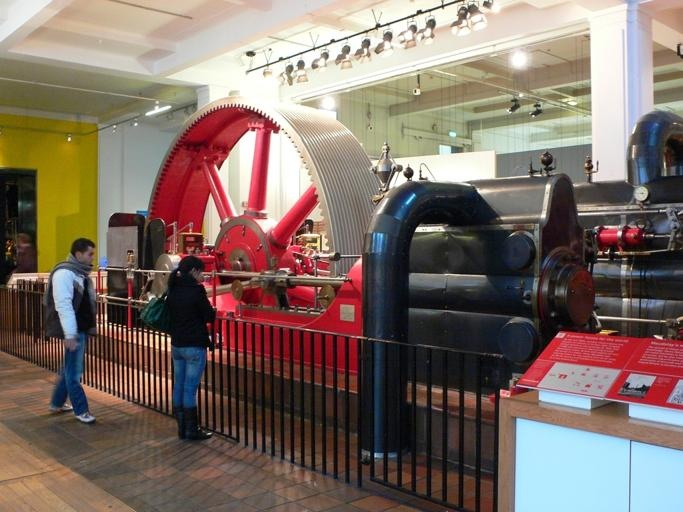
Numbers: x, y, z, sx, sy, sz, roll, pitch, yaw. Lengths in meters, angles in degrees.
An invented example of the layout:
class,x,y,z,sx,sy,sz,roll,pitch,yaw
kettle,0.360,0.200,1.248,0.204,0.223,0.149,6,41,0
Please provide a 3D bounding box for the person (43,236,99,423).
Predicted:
class,x,y,z,sx,sy,sz,roll,pitch,yaw
person,-2.677,0.737,5.421,0.449,1.826,0.730,-4,5,-34

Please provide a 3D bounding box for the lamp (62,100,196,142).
class,x,y,z,sx,sy,sz,roll,pitch,yaw
lamp,-6.314,-4.146,17.055,4.878,0.707,1.489,0,5,27

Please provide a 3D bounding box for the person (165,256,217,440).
class,x,y,z,sx,sy,sz,roll,pitch,yaw
person,-1.344,0.819,4.901,0.434,1.642,0.298,-2,4,-7

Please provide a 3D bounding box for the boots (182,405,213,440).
class,x,y,z,sx,sy,sz,roll,pitch,yaw
boots,-1.326,1.547,4.928,0.149,0.296,0.306,-25,-30,26

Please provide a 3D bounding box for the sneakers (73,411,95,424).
class,x,y,z,sx,sy,sz,roll,pitch,yaw
sneakers,-2.543,1.600,5.376,0.229,0.104,0.086,-3,-4,32

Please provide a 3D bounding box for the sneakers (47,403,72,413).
class,x,y,z,sx,sy,sz,roll,pitch,yaw
sneakers,-2.947,1.604,5.687,0.235,0.096,0.085,0,1,-28

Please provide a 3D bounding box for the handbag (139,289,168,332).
class,x,y,z,sx,sy,sz,roll,pitch,yaw
handbag,-1.696,0.527,4.921,0.223,0.384,0.284,-3,4,-23
